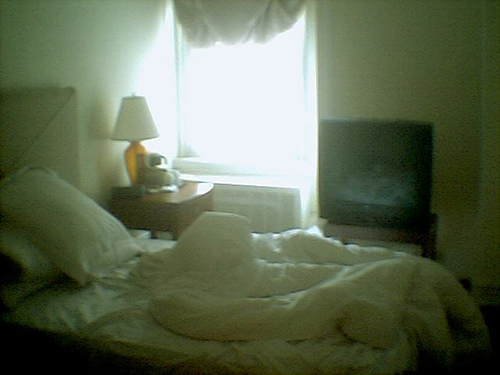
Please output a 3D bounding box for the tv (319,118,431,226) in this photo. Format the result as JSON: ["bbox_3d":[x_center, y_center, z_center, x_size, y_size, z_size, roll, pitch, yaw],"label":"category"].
[{"bbox_3d":[0.382,-0.035,1.490,0.360,0.337,0.035,6,16,31],"label":"tv"}]

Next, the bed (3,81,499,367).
[{"bbox_3d":[-0.129,0.064,1.418,1.402,0.729,0.728,-1,15,5],"label":"bed"}]

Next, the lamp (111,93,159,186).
[{"bbox_3d":[-0.483,-0.192,2.016,0.188,0.388,0.188,-8,13,-33],"label":"lamp"}]
